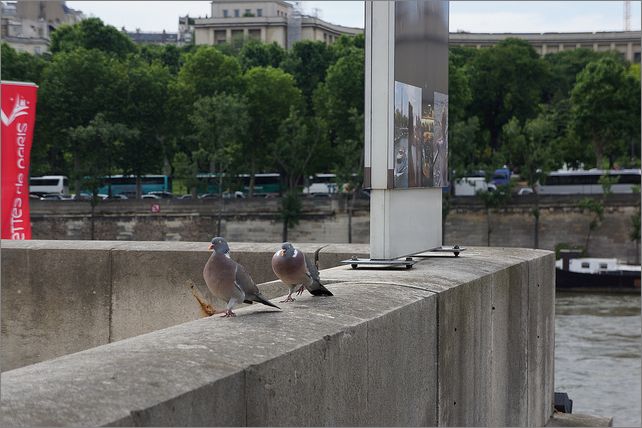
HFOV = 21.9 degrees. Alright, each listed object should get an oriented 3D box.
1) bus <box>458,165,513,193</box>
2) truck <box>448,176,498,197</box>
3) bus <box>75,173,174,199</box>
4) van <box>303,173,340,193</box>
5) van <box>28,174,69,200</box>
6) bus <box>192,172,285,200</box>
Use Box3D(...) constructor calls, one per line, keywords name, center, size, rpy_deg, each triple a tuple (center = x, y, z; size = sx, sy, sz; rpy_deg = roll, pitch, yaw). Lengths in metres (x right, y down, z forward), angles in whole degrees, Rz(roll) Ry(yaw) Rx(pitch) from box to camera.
Box3D(name="bus", center=(15.047, -2.625, 158.070), size=(5.024, 2.554, 2.637), rpy_deg=(-1, -7, 16))
Box3D(name="truck", center=(14.278, -2.373, 156.970), size=(4.745, 2.253, 1.735), rpy_deg=(0, 5, 10))
Box3D(name="bus", center=(-20.108, -3.309, 167.834), size=(9.898, 3.032, 2.970), rpy_deg=(1, 0, 2))
Box3D(name="van", center=(0.549, -2.624, 167.525), size=(3.151, 1.946, 2.162), rpy_deg=(2, 2, 10))
Box3D(name="van", center=(-26.863, -2.628, 164.416), size=(4.015, 2.039, 1.598), rpy_deg=(0, 4, 3))
Box3D(name="bus", center=(-7.431, -2.834, 168.587), size=(11.190, 3.398, 3.238), rpy_deg=(1, 1, -3))
